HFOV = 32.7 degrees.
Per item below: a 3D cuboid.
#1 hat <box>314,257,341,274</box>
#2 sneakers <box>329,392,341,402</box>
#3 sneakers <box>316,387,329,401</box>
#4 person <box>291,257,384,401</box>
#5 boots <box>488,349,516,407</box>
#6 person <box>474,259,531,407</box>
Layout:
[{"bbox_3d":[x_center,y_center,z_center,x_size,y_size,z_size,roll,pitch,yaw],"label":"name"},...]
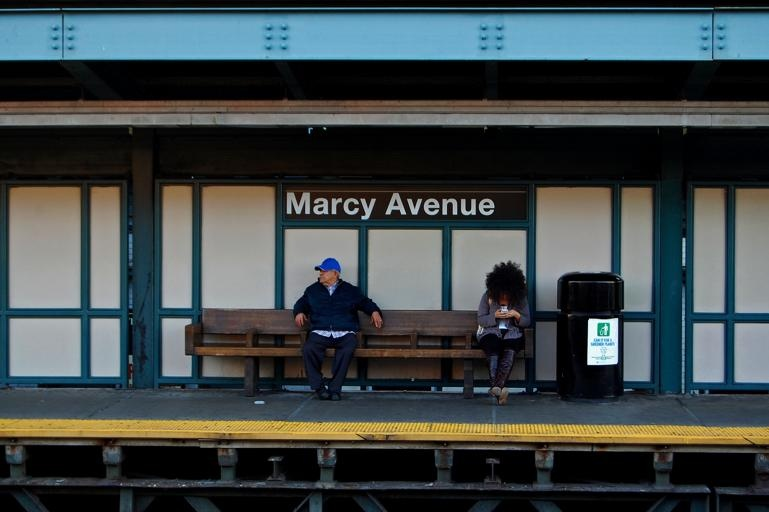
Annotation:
[{"bbox_3d":[-0.765,0.112,18.000,0.288,0.147,0.203,3,-5,-12],"label":"hat"},{"bbox_3d":[-0.643,1.892,17.680,0.191,0.115,0.099,1,-12,-6],"label":"sneakers"},{"bbox_3d":[-0.821,1.841,17.692,0.201,0.177,0.129,3,-6,2],"label":"sneakers"},{"bbox_3d":[-0.629,0.952,17.897,1.376,1.703,1.138,0,13,6],"label":"person"},{"bbox_3d":[1.583,1.592,17.477,0.315,0.721,0.431,-1,-4,19],"label":"boots"},{"bbox_3d":[1.606,1.012,17.584,0.840,1.469,2.061,2,23,8],"label":"person"}]
